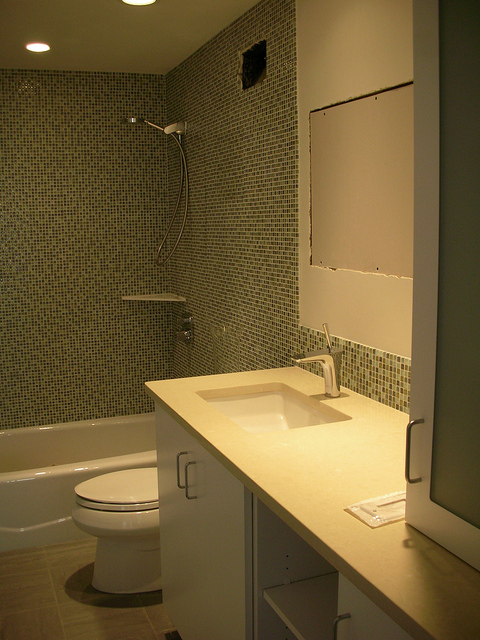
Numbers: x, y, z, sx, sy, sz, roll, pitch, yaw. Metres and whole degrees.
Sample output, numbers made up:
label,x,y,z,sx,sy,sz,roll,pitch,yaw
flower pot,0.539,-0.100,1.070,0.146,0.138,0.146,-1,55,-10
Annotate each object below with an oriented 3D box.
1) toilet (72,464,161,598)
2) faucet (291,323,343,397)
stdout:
label,x,y,z,sx,sy,sz,roll,pitch,yaw
toilet,-0.529,0.879,2.137,0.405,0.386,0.394,0,0,-34
faucet,0.237,0.157,1.509,0.175,0.146,0.044,-2,4,-21
